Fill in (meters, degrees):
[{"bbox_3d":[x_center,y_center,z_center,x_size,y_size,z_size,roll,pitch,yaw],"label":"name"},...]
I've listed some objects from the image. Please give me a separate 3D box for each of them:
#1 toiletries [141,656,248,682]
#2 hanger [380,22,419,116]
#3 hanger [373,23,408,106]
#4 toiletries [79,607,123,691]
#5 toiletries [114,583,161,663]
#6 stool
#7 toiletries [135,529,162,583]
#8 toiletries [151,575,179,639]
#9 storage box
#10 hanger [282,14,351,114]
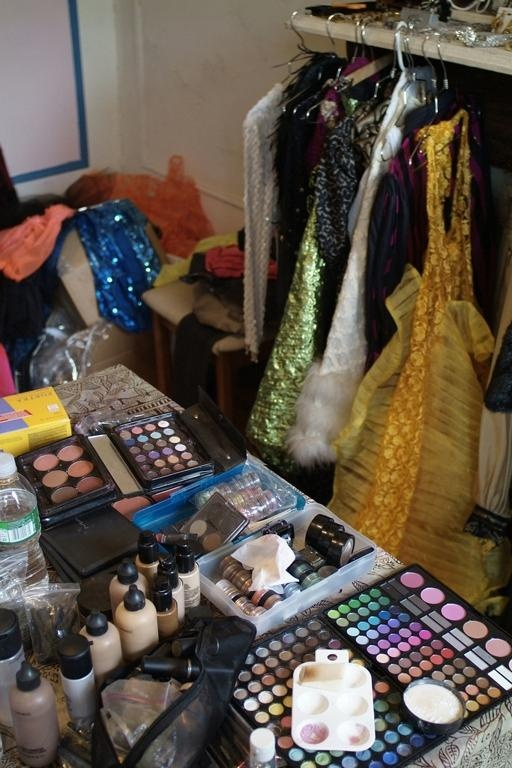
[{"bbox_3d":[-0.061,0.273,0.588,0.098,0.029,0.029,11,12,-18],"label":"toiletries"},{"bbox_3d":[0.299,-0.637,1.213,0.055,0.172,0.172,2,26,14],"label":"hanger"},{"bbox_3d":[0.277,-0.645,1.216,0.045,0.141,0.078,7,26,36],"label":"hanger"},{"bbox_3d":[-0.153,0.267,0.593,0.045,0.080,0.044,-1,40,-5],"label":"toiletries"},{"bbox_3d":[-0.125,0.252,0.625,0.042,0.075,0.041,-16,48,-17],"label":"toiletries"},{"bbox_3d":[-0.162,-0.104,1.800,0.264,0.358,0.357,-17,55,-25],"label":"stool"},{"bbox_3d":[-0.126,0.204,0.701,0.026,0.072,0.026,-27,50,-28],"label":"toiletries"},{"bbox_3d":[-0.102,0.251,0.663,0.028,0.072,0.028,-9,17,-12],"label":"toiletries"},{"bbox_3d":[-0.553,-0.333,2.185,0.305,0.559,0.302,-19,36,2],"label":"storage box"},{"bbox_3d":[0.117,-0.703,1.337,0.111,0.182,0.281,0,55,1],"label":"hanger"}]
